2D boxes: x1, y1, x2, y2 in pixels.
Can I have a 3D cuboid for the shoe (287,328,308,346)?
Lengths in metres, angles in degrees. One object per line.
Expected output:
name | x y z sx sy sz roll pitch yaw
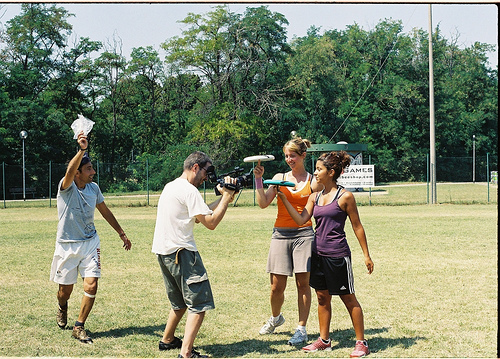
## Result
shoe | 0.783 2.500 8.717 0.155 0.192 0.395 1 -2 39

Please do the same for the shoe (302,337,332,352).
shoe | 1.056 2.570 8.544 0.505 0.220 0.182 2 -6 -4

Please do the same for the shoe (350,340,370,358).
shoe | 1.695 2.538 8.304 0.396 0.237 0.162 -6 9 -37

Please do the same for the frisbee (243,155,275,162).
frisbee | 0.142 -0.343 8.675 0.449 0.106 0.519 -1 7 -2

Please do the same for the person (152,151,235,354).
person | -0.885 1.129 8.151 1.091 3.046 0.820 -2 8 -10

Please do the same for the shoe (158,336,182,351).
shoe | -1.226 2.553 8.581 0.445 0.221 0.150 -3 1 -15

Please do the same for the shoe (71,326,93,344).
shoe | -2.698 2.460 8.748 0.401 0.194 0.148 10 4 35

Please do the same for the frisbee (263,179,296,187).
frisbee | 0.471 0.060 8.834 0.510 0.119 0.279 0 7 5

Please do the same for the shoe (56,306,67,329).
shoe | -3.159 2.300 9.192 0.127 0.378 0.170 -3 6 -7

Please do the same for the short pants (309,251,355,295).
short pants | 1.255 1.412 8.571 0.774 0.709 0.437 0 -1 38

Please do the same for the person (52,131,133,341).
person | -2.758 0.875 8.928 0.967 3.303 0.870 -4 8 -22
